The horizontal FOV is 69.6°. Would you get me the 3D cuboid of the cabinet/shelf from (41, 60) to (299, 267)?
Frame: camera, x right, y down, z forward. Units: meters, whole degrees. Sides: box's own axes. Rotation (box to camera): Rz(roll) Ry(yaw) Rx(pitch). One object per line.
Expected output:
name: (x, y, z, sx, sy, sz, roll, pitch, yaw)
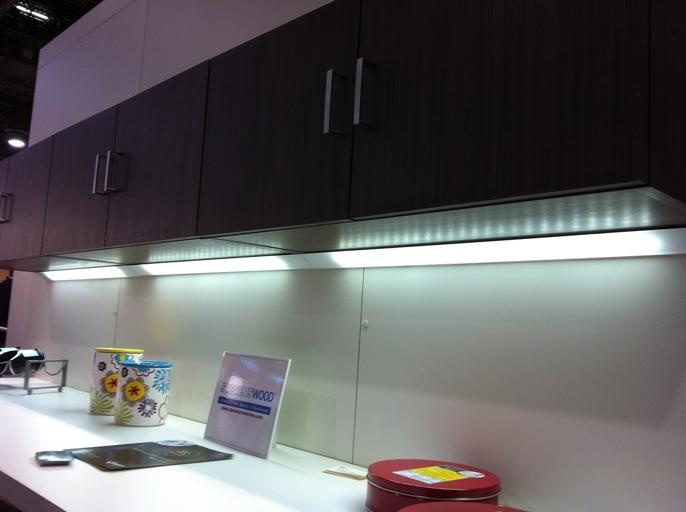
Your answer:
cabinet/shelf: (-0.815, -0.298, 2.088, 1.108, 0.580, 0.379, -5, -9, 32)
